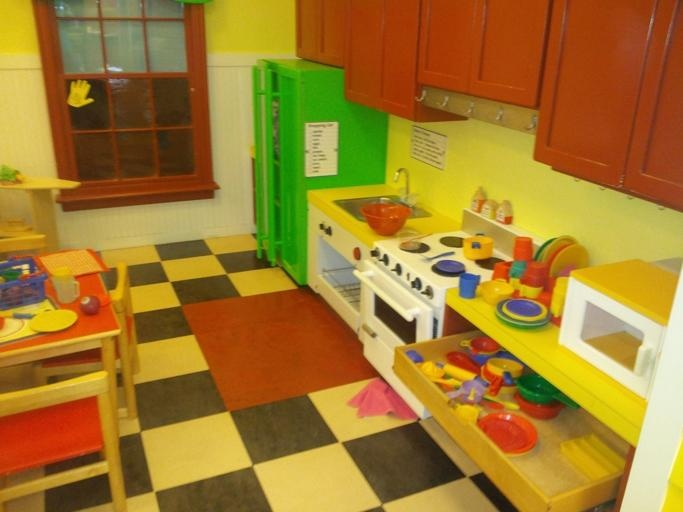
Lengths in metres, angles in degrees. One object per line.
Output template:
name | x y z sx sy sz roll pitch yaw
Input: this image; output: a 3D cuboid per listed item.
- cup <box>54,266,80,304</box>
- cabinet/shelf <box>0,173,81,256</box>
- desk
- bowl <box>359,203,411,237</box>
cup | -1.405 0.157 2.715 0.153 0.134 0.103 31 34 34
cabinet/shelf | -2.486 -0.351 4.503 0.446 0.664 0.435 13 27 26
desk | -1.340 0.447 2.520 0.496 0.432 0.909 -11 30 -21
bowl | 0.293 -0.205 3.487 0.344 0.143 0.350 1 -18 0
